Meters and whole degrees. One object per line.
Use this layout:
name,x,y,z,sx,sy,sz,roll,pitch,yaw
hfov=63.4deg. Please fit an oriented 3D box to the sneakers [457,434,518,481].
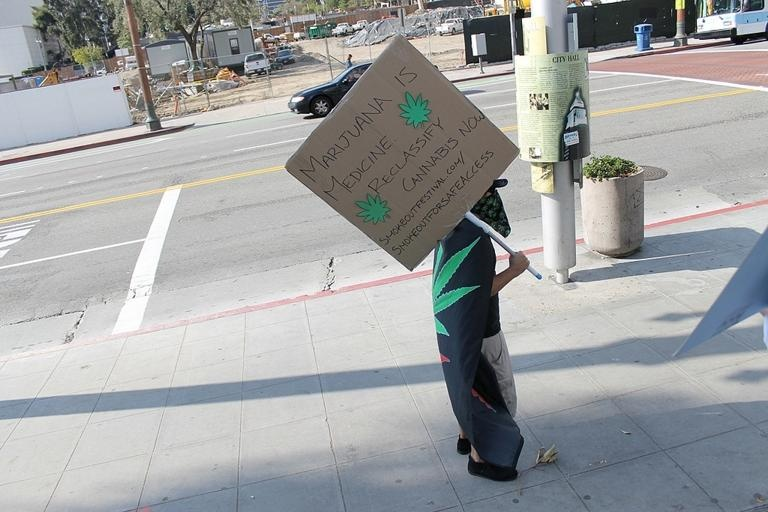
sneakers,0.869,1.928,5.931,0.664,0.205,0.238,5,21,46

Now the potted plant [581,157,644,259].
potted plant,3.192,-0.678,8.757,0.811,1.380,0.586,-3,28,16

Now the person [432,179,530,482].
person,0.893,0.867,5.616,0.808,2.390,0.948,-6,27,11

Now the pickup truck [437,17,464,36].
pickup truck,6.485,-22.617,61.409,1.518,1.366,2.897,-17,24,-18

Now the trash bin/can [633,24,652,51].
trash bin/can,12.376,-10.480,29.858,0.566,1.186,0.862,-4,26,14
